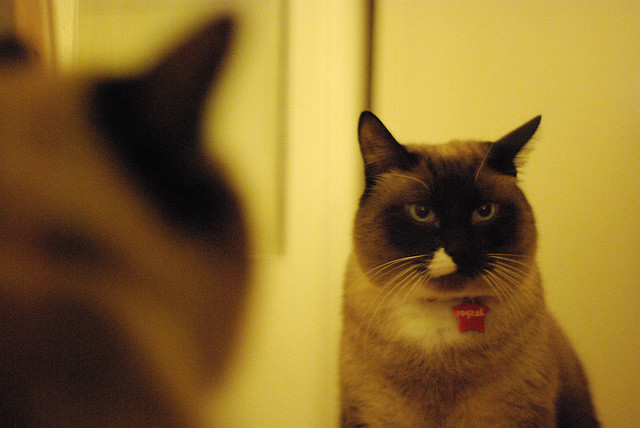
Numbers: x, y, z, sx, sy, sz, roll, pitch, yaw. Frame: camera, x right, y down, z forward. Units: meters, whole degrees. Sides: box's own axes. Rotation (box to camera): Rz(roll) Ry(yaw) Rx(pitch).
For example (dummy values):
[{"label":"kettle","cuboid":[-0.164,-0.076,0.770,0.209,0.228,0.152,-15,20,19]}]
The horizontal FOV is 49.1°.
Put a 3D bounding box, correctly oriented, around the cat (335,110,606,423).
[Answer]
[{"label":"cat","cuboid":[0.320,0.268,1.930,0.484,0.884,0.666,-4,47,2]}]
